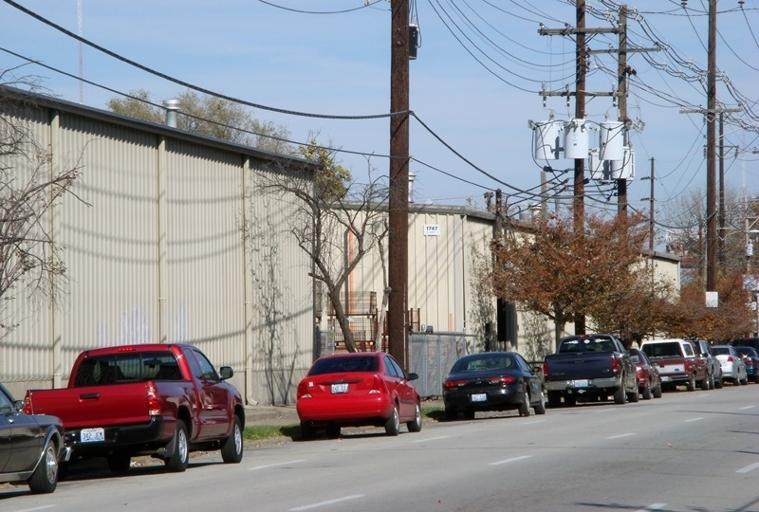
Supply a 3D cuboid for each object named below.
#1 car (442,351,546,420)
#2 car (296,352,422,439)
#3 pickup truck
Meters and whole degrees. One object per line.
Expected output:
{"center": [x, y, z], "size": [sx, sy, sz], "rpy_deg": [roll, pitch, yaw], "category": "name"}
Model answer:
{"center": [3.482, 3.957, 39.677], "size": [2.979, 1.998, 1.839], "rpy_deg": [-3, -9, -4], "category": "car"}
{"center": [-0.602, 3.759, 34.863], "size": [3.353, 2.296, 2.046], "rpy_deg": [-1, -9, -15], "category": "car"}
{"center": [-4.937, 3.560, 30.053], "size": [2.571, 2.017, 4.742], "rpy_deg": [-1, -3, 19], "category": "pickup truck"}
